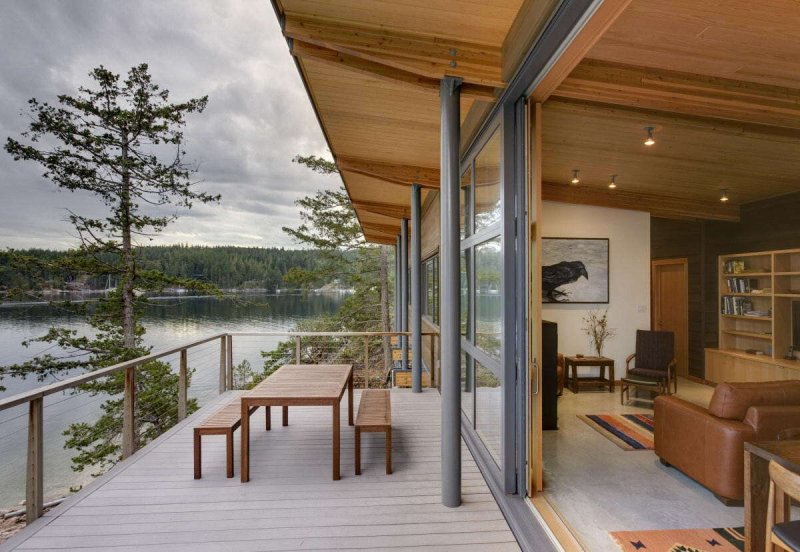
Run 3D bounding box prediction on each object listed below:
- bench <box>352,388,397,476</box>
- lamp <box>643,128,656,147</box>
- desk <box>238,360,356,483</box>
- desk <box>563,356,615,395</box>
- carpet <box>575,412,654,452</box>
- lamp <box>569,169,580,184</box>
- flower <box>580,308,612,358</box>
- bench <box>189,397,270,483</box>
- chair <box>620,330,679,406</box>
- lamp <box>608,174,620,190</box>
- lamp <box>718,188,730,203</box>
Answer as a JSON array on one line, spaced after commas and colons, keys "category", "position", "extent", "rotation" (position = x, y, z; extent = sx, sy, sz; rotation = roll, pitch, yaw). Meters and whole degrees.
[{"category": "bench", "position": [-0.326, 1.935, 6.488], "extent": [0.469, 0.785, 1.152], "rotation": [0, -3, -2]}, {"category": "lamp", "position": [3.435, -1.924, 7.140], "extent": [0.178, 0.203, 0.182], "rotation": [2, 7, 14]}, {"category": "desk", "position": [-1.242, 1.378, 6.303], "extent": [1.032, 0.855, 2.052], "rotation": [0, 1, -1]}, {"category": "desk", "position": [3.469, 1.821, 9.560], "extent": [0.931, 0.568, 0.957], "rotation": [-4, -7, 27]}, {"category": "carpet", "position": [3.142, 2.195, 7.422], "extent": [1.004, 0.217, 1.374], "rotation": [-1, -4, 13]}, {"category": "lamp", "position": [3.087, -1.759, 9.172], "extent": [0.165, 0.255, 0.148], "rotation": [-1, 5, -15]}, {"category": "flower", "position": [3.730, 1.051, 9.844], "extent": [0.696, 1.079, 0.761], "rotation": [-1, 0, 14]}, {"category": "bench", "position": [-2.174, 1.948, 6.161], "extent": [0.519, 0.759, 0.709], "rotation": [1, -3, -21]}, {"category": "chair", "position": [4.181, 1.530, 8.723], "extent": [0.741, 1.009, 1.175], "rotation": [-1, 7, 35]}, {"category": "lamp", "position": [3.769, -1.673, 9.185], "extent": [0.167, 0.169, 0.171], "rotation": [-5, 10, -15]}, {"category": "lamp", "position": [5.563, -1.382, 8.932], "extent": [0.214, 0.204, 0.209], "rotation": [3, -4, -31]}]
